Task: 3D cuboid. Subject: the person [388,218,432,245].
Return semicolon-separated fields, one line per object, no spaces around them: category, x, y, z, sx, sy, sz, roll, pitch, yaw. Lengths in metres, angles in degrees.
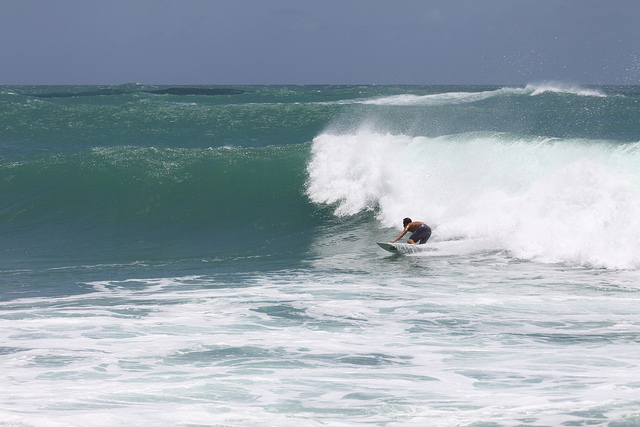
person;2.294;0.522;18.208;0.706;0.656;0.700;9;27;7

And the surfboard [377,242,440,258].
surfboard;2.099;0.921;17.911;1.430;0.321;0.571;4;23;3
